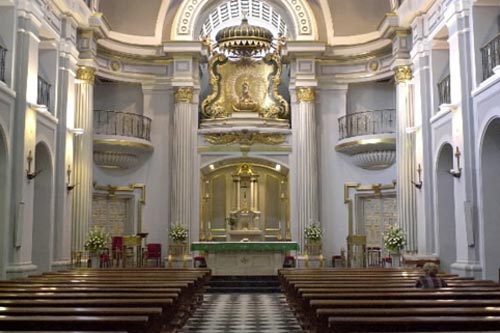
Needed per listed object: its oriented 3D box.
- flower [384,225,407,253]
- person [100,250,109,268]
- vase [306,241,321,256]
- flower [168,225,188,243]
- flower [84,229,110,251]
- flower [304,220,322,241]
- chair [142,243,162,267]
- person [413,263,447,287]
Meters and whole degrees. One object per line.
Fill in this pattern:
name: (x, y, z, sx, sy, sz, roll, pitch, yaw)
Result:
flower: (4.441, 2.240, 20.843, 0.504, 0.702, 0.560, -13, -16, 32)
person: (-4.681, 2.974, 22.209, 0.260, 0.499, 0.793, 1, -12, -11)
vase: (2.174, 2.754, 23.304, 0.601, 0.694, 0.595, 1, -10, -3)
flower: (-2.413, 2.229, 23.149, 0.597, 0.693, 0.926, -1, -12, -2)
flower: (-4.745, 2.269, 21.350, 0.849, 0.902, 0.778, 1, 1, -6)
flower: (2.119, 2.160, 23.099, 0.603, 0.638, 0.609, -5, 6, -38)
chair: (-3.278, 3.021, 23.413, 0.739, 0.796, 0.762, -3, -6, 32)
person: (3.669, 2.198, 13.964, 0.587, 0.284, 0.806, -1, -50, 8)
